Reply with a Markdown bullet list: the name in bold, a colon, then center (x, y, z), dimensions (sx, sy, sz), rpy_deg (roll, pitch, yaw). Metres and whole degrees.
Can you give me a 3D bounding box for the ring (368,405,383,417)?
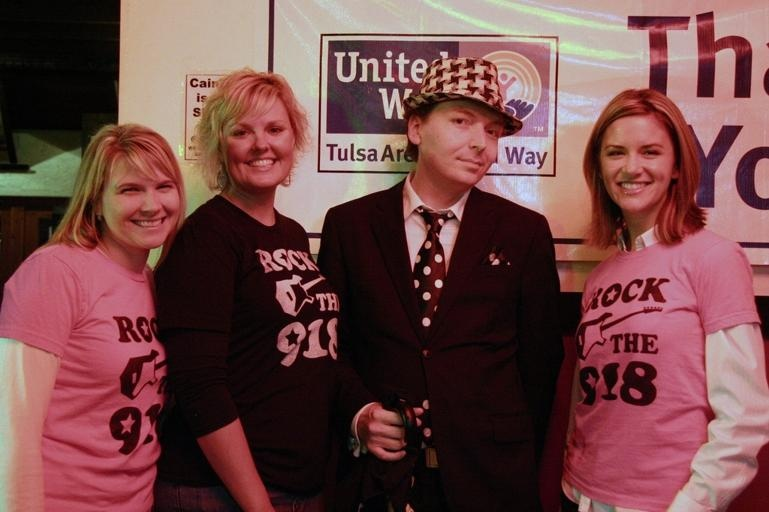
- **ring**: center (-0.034, 0.543, 2.333), dimensions (0.041, 0.016, 0.032), rpy_deg (-30, 39, -19)
